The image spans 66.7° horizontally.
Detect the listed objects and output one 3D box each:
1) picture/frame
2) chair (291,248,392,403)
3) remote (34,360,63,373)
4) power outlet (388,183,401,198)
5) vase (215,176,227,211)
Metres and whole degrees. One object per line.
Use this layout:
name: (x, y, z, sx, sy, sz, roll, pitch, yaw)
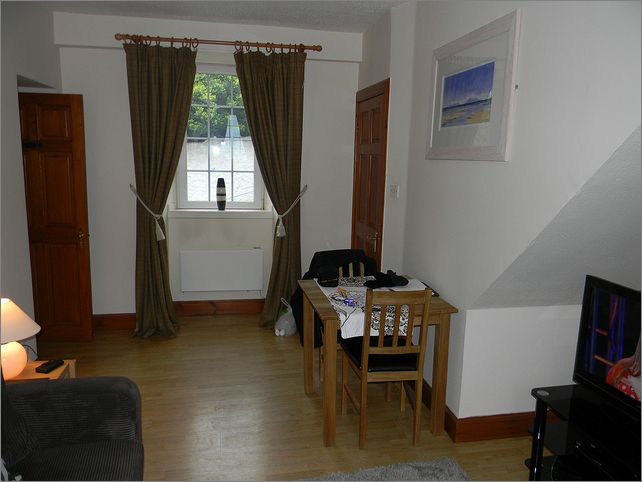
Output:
picture/frame: (0.975, -0.965, 3.286, 0.059, 0.826, 0.829, -2, 8, -26)
chair: (0.107, 0.517, 4.396, 0.741, 1.055, 0.830, 0, -3, -5)
remote: (-1.804, 0.832, 3.243, 0.065, 0.027, 0.089, 6, 11, 14)
power outlet: (0.650, -0.445, 4.294, 0.017, 0.165, 0.139, 1, -1, -25)
vase: (-1.105, -0.514, 5.371, 0.105, 0.345, 0.147, -2, 12, -13)
